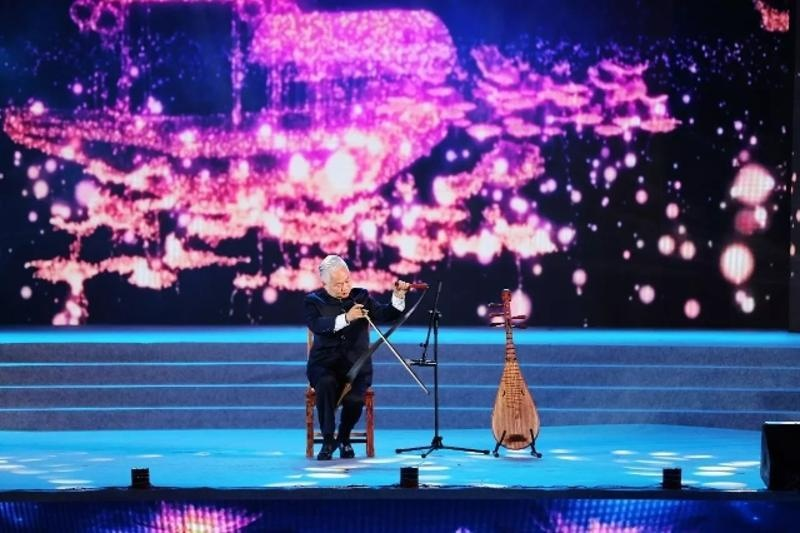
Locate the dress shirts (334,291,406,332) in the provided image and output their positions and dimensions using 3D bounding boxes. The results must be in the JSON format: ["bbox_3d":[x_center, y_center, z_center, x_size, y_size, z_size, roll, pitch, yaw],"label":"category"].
[{"bbox_3d":[-0.307,0.445,14.066,0.651,0.366,0.498,-1,5,-40],"label":"dress shirts"}]

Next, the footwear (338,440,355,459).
[{"bbox_3d":[-0.512,1.749,14.124,0.159,0.160,0.150,0,-18,0],"label":"footwear"}]

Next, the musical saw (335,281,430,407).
[{"bbox_3d":[-0.150,0.759,14.223,0.639,1.231,0.731,-1,4,-26],"label":"musical saw"}]

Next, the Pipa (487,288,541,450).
[{"bbox_3d":[1.090,1.036,14.214,0.490,1.483,0.431,-3,-4,7],"label":"Pipa"}]
